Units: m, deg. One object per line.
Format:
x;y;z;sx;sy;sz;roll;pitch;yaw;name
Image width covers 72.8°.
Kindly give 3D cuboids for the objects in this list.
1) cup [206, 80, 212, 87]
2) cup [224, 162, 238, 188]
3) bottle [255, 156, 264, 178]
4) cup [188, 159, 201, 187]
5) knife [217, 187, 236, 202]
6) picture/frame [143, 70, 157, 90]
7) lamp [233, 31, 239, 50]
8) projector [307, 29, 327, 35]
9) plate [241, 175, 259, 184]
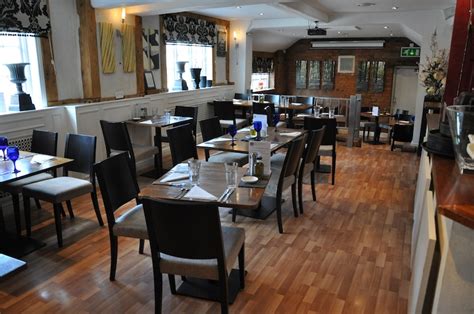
-0.724;-1.894;8.314;0.169;0.122;0.167;0;22;0;cup
-0.057;0.163;3.228;0.114;0.258;0.234;-2;17;-4;cup
0.238;0.099;3.421;0.094;0.225;0.135;0;17;5;bottle
-0.428;0.146;3.208;0.104;0.238;0.182;-4;17;-8;cup
-0.101;0.349;3.022;0.062;0.019;0.236;3;18;11;knife
-1.813;-1.604;6.733;0.149;0.380;0.413;1;17;8;picture/frame
-0.037;-3.247;8.978;0.120;0.492;0.154;-7;18;-19;lamp
1.886;-2.946;7.590;0.369;0.147;0.367;1;13;11;projector
0.131;0.233;3.342;0.178;0.038;0.174;3;17;12;plate
